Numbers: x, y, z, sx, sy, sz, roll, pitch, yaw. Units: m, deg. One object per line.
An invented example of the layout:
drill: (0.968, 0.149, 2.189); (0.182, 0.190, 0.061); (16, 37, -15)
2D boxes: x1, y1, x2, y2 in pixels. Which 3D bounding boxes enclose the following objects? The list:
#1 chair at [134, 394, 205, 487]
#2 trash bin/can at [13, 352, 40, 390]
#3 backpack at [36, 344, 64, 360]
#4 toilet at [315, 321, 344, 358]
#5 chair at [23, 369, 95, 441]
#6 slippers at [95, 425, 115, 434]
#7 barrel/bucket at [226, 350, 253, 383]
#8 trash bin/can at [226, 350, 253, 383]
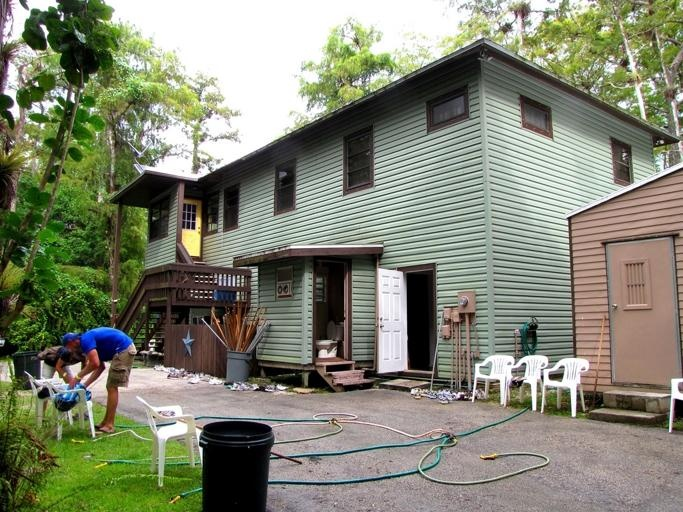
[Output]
chair: (-1.975, 2.120, 6.508); (0.605, 0.811, 1.727); (5, -10, -12)
trash bin/can: (-5.929, 2.061, 10.276); (0.349, 0.549, 0.352); (-6, 6, 4)
backpack: (-4.394, 1.476, 8.220); (0.348, 0.154, 0.431); (3, -5, -34)
toilet: (-0.406, 2.118, 13.137); (0.600, 0.958, 0.900); (1, 19, -2)
chair: (-3.806, 2.058, 7.480); (0.840, 0.754, 1.177); (8, -11, -26)
slippers: (-3.225, 2.363, 7.422); (0.269, 0.119, 0.102); (-3, -6, 26)
barrel/bucket: (-2.364, 2.536, 12.356); (0.522, 0.733, 0.567); (3, -9, 0)
trash bin/can: (-2.364, 2.536, 12.356); (0.522, 0.733, 0.567); (4, -9, -7)
